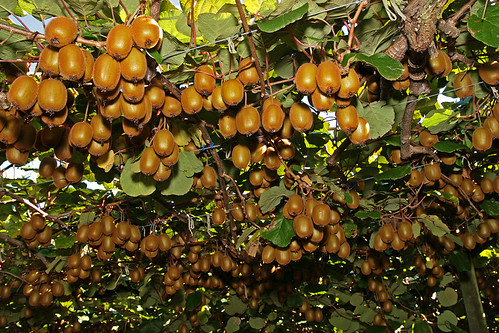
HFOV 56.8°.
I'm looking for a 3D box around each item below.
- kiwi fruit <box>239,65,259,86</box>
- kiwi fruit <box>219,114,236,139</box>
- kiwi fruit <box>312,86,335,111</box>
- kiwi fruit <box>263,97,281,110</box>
[{"bbox_3d":[-0.005,-0.726,3.737,0.162,0.135,0.083,-3,47,0],"label":"kiwi fruit"},{"bbox_3d":[-0.178,-0.336,3.879,0.145,0.105,0.179,-3,90,4],"label":"kiwi fruit"},{"bbox_3d":[0.561,-0.501,3.613,0.143,0.145,0.188,11,75,-12],"label":"kiwi fruit"},{"bbox_3d":[0.183,-0.520,3.777,0.110,0.108,0.146,1,73,2],"label":"kiwi fruit"}]
